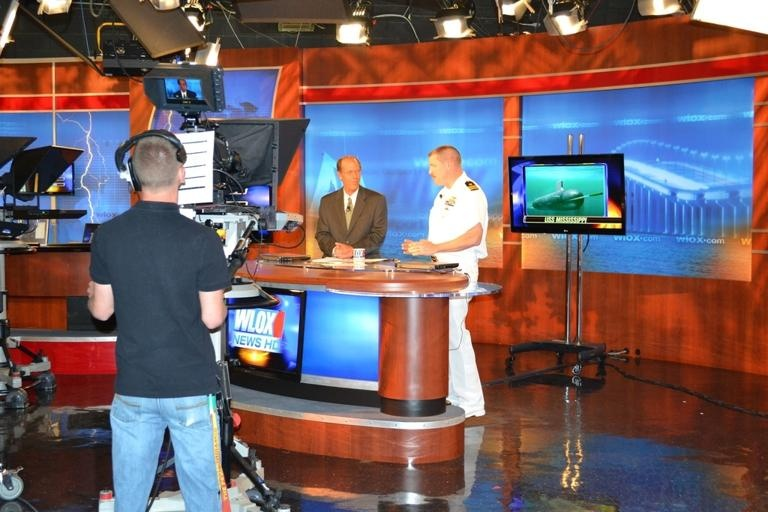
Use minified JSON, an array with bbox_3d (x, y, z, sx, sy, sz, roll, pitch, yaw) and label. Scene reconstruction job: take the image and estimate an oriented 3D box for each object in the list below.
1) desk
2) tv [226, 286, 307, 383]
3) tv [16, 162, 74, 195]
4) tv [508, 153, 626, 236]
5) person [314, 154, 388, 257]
[{"bbox_3d":[-0.147,0.560,5.242,2.213,0.970,1.182,4,6,40],"label":"desk"},{"bbox_3d":[-0.879,0.617,5.375,0.998,0.864,0.100,2,-4,32],"label":"tv"},{"bbox_3d":[-3.724,-0.851,7.589,0.770,0.406,0.076,-3,-26,11],"label":"tv"},{"bbox_3d":[1.952,-0.657,7.253,0.995,0.644,0.101,1,4,20],"label":"tv"},{"bbox_3d":[-0.348,-0.519,6.994,0.652,0.981,0.659,-4,11,-21],"label":"person"}]
